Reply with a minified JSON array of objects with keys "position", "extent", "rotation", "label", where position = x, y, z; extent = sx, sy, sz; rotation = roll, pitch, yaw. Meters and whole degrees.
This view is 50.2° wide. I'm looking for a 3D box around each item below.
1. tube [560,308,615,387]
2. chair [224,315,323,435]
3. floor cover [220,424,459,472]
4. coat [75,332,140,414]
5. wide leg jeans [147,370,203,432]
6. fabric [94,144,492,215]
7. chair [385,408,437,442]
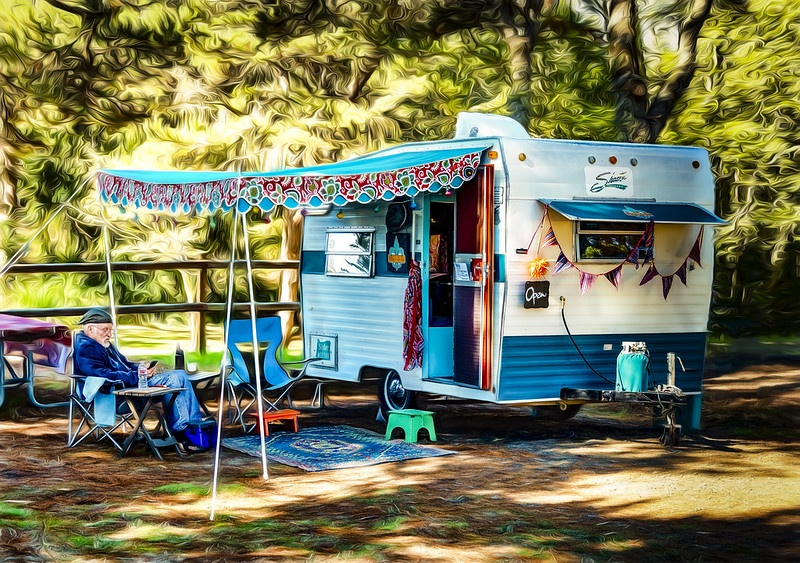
[{"position":[2.078,0.715,9.405],"extent":[0.654,0.880,0.085],"rotation":[-1,5,-22],"label":"tube"},{"position":[-1.651,1.138,10.189],"extent":[1.326,1.097,1.363],"rotation":[10,15,40],"label":"chair"},{"position":[-0.721,1.744,9.003],"extent":[1.664,0.045,1.933],"rotation":[-2,4,-43],"label":"floor cover"},{"position":[-3.066,0.979,8.967],"extent":[0.745,0.735,0.736],"rotation":[-3,-3,2],"label":"coat"},{"position":[-2.311,1.242,8.746],"extent":[0.528,0.629,0.283],"rotation":[0,5,-12],"label":"wide leg jeans"},{"position":[-1.190,-1.120,9.408],"extent":[3.019,0.828,2.800],"rotation":[-1,4,-33],"label":"fabric"},{"position":[0.101,1.571,9.433],"extent":[0.480,0.251,0.432],"rotation":[3,-5,-34],"label":"chair"}]
